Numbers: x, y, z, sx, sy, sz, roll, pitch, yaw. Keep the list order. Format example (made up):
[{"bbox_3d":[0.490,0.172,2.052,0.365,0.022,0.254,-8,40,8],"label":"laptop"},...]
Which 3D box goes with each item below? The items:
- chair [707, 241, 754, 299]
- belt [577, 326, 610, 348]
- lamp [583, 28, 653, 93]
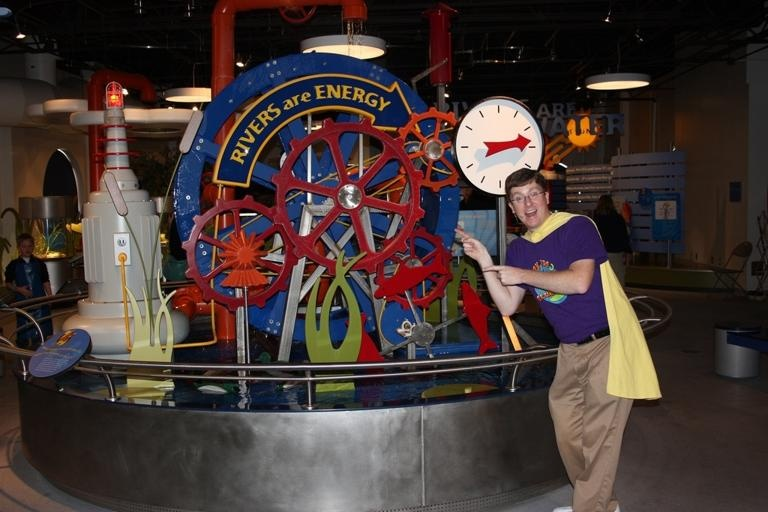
[{"bbox_3d":[6.962,0.262,13.568,0.667,0.974,0.545,-8,13,-9],"label":"chair"},{"bbox_3d":[1.661,0.646,5.338,0.155,0.037,0.146,-36,-4,14],"label":"belt"},{"bbox_3d":[4.610,-4.102,13.239,1.235,1.494,1.278,4,22,24],"label":"lamp"}]
